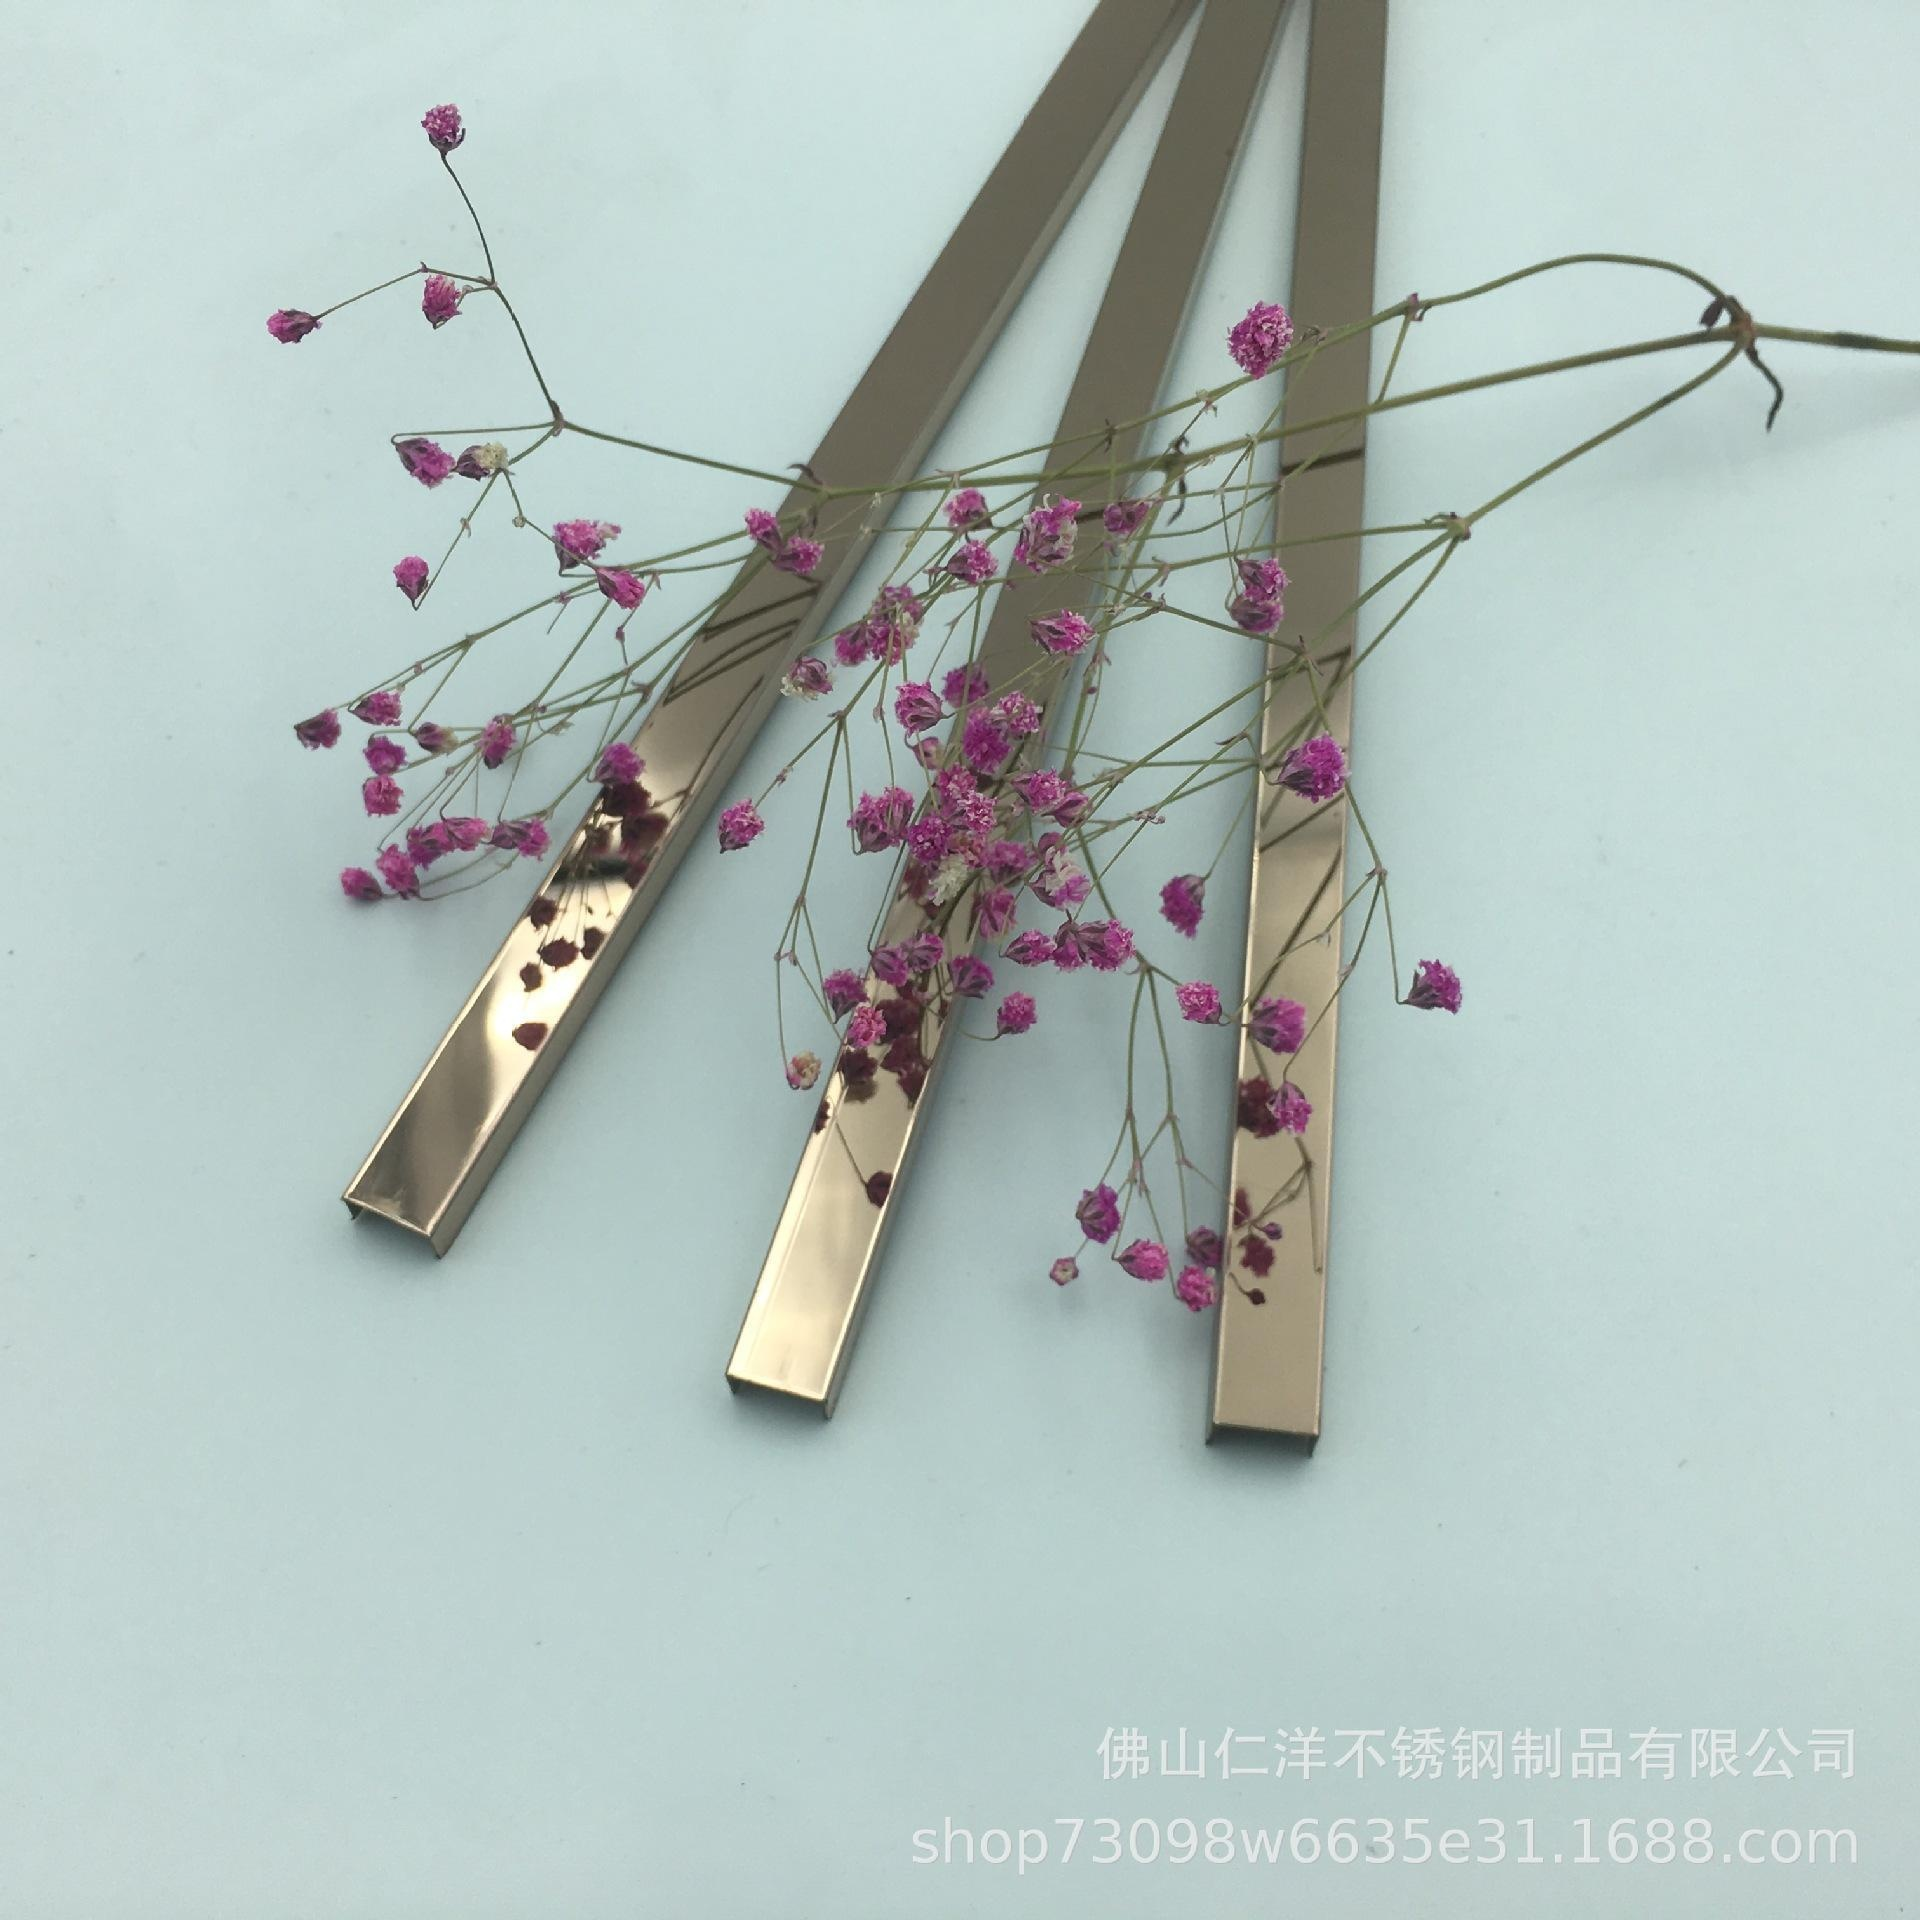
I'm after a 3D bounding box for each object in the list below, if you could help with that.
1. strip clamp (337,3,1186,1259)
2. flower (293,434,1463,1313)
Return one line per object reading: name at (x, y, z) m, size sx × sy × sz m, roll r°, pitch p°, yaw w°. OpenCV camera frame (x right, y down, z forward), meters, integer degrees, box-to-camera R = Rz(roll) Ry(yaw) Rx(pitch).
strip clamp at (-0.100, -0.146, 1.358) m, size 0.066 × 0.042 × 0.830 m, roll 26°, pitch 68°, yaw 19°
flower at (-0.041, -0.104, 1.291) m, size 0.560 × 0.258 × 0.509 m, roll 0°, pitch 60°, yaw 15°
